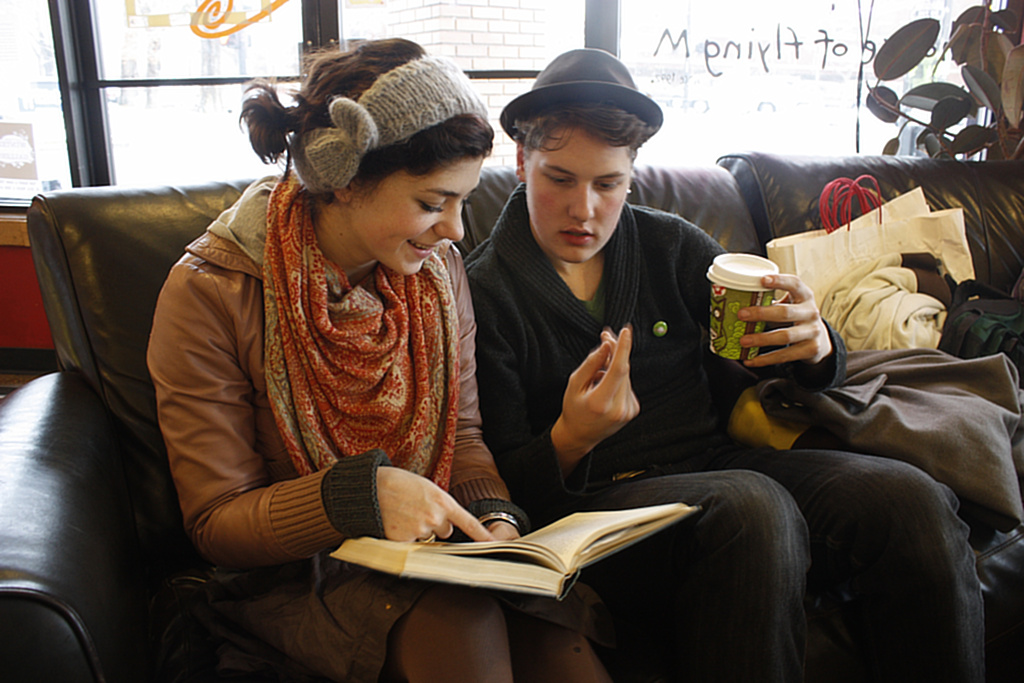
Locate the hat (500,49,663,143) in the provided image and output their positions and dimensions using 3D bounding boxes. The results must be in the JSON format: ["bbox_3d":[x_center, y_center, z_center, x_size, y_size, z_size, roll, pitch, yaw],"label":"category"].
[{"bbox_3d":[0.272,-0.719,2.306,0.397,0.156,0.436,12,-2,28],"label":"hat"}]
